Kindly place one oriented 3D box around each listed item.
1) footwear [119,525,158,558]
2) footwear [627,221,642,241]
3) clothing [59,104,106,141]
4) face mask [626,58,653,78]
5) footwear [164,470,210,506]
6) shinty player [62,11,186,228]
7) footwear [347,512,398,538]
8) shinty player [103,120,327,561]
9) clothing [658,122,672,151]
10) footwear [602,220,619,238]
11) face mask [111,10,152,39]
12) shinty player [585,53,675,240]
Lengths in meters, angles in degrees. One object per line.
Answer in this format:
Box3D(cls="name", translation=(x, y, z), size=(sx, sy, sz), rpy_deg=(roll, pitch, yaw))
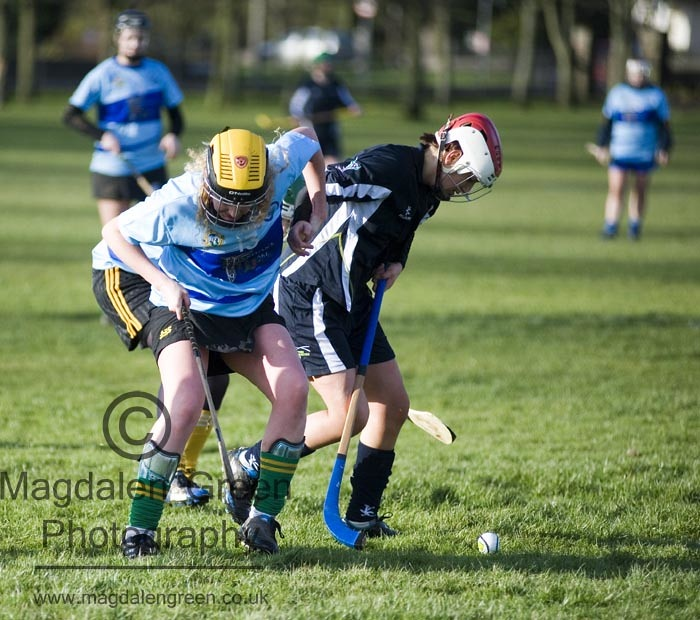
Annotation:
Box3D(cls="footwear", translation=(-1.099, 1.204, 7.279), size=(0.184, 0.142, 0.117), rpy_deg=(-1, 13, -10))
Box3D(cls="footwear", translation=(1.906, -0.536, 9.354), size=(0.106, 0.103, 0.169), rpy_deg=(-3, -30, 5))
Box3D(cls="clothing", translation=(-2.038, -1.407, 10.635), size=(0.281, 0.088, 0.285), rpy_deg=(36, 9, -2))
Box3D(cls="face mask", translation=(1.765, -1.482, 8.545), size=(0.098, 0.131, 0.134), rpy_deg=(2, -10, -1))
Box3D(cls="footwear", translation=(-0.945, 1.034, 8.045), size=(0.331, 0.177, 0.116), rpy_deg=(0, 1, 27))
Box3D(cls="shinty player", translation=(-1.705, -1.205, 10.943), size=(0.919, 2.272, 0.656), rpy_deg=(-11, 23, -26))
Box3D(cls="footwear", translation=(0.095, 1.200, 7.840), size=(0.323, 0.157, 0.112), rpy_deg=(8, -3, -20))
Box3D(cls="shinty player", translation=(-0.694, 0.116, 7.644), size=(1.018, 2.253, 1.105), rpy_deg=(-2, 13, -22))
Box3D(cls="clothing", translation=(1.948, -1.075, 8.649), size=(0.110, 0.156, 0.058), rpy_deg=(-1, 3, -35))
Box3D(cls="footwear", translation=(1.799, -0.552, 9.644), size=(0.098, 0.098, 0.154), rpy_deg=(-14, -10, 8))
Box3D(cls="face mask", translation=(-1.635, -2.131, 10.477), size=(0.155, 0.177, 0.212), rpy_deg=(12, 20, 25))
Box3D(cls="shinty player", translation=(1.809, -1.088, 8.849), size=(0.351, 1.237, 0.369), rpy_deg=(9, 20, 21))
